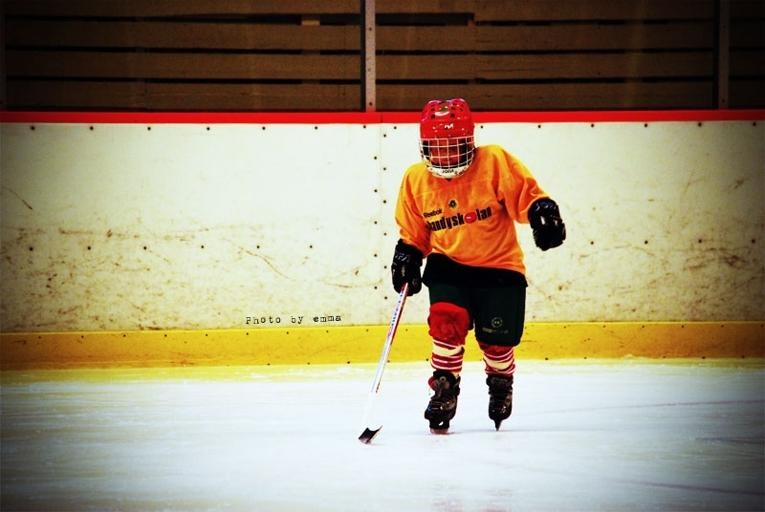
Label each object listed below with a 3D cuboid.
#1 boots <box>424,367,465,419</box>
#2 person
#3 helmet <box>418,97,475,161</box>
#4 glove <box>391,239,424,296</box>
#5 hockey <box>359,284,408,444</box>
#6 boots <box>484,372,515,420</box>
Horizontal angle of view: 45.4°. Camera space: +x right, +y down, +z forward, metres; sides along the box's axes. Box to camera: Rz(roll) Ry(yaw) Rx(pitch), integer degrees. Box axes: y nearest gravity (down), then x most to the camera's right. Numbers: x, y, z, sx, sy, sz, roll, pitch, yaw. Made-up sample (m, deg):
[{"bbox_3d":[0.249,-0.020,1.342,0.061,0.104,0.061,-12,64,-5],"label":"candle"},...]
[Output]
[{"bbox_3d":[0.366,0.881,5.794,0.258,0.255,0.182,6,-2,-18],"label":"boots"},{"bbox_3d":[0.548,0.207,5.816,1.034,1.612,0.452,5,-2,-1],"label":"person"},{"bbox_3d":[0.413,-0.822,5.901,0.407,0.413,0.425,-6,7,-23],"label":"helmet"},{"bbox_3d":[0.149,0.077,5.939,0.204,0.345,0.122,13,-10,6],"label":"glove"},{"bbox_3d":[-0.009,0.775,6.318,0.175,1.015,0.172,34,-21,-30],"label":"hockey"},{"bbox_3d":[0.734,0.898,5.813,0.114,0.337,0.142,0,-1,22],"label":"boots"}]
